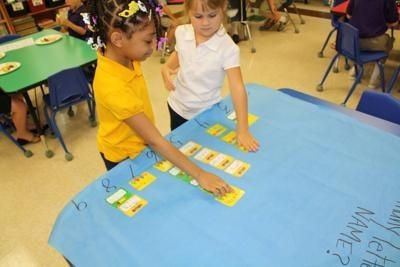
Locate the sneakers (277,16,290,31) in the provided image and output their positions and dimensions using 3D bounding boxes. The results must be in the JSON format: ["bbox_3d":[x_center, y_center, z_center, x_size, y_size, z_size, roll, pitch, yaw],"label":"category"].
[{"bbox_3d":[1.432,-1.954,5.156,0.135,0.145,0.348,18,76,26],"label":"sneakers"}]
